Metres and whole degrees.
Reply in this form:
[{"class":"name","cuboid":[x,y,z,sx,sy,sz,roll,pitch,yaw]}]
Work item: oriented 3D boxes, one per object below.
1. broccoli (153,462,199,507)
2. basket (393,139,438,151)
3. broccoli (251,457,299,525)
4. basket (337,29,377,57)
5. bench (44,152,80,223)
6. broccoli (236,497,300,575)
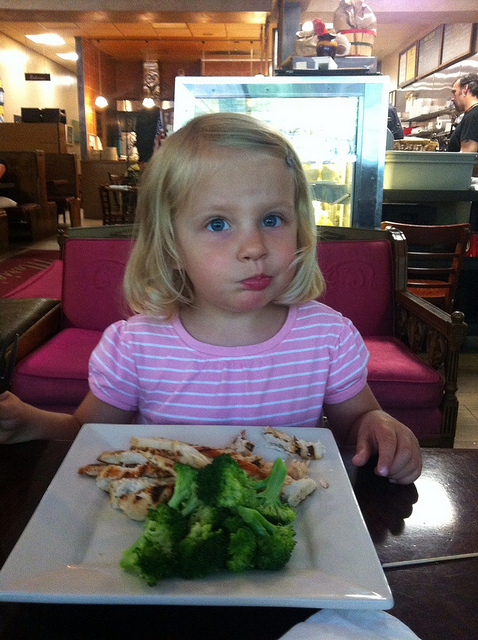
[{"class":"broccoli","cuboid":[-0.063,0.159,0.479,0.031,0.054,0.016,34,54,-7]},{"class":"basket","cuboid":[1.562,-1.562,4.402,0.352,0.079,0.248,5,17,16]},{"class":"broccoli","cuboid":[0.034,0.168,0.489,0.055,0.063,0.044,14,-12,22]},{"class":"basket","cuboid":[0.867,-1.999,3.648,0.260,0.171,0.241,-4,19,-9]},{"class":"bench","cuboid":[-3.226,-2.373,8.946,0.539,1.346,0.478,-3,12,-11]},{"class":"broccoli","cuboid":[0.026,0.183,0.437,0.067,0.042,0.032,32,35,13]}]
